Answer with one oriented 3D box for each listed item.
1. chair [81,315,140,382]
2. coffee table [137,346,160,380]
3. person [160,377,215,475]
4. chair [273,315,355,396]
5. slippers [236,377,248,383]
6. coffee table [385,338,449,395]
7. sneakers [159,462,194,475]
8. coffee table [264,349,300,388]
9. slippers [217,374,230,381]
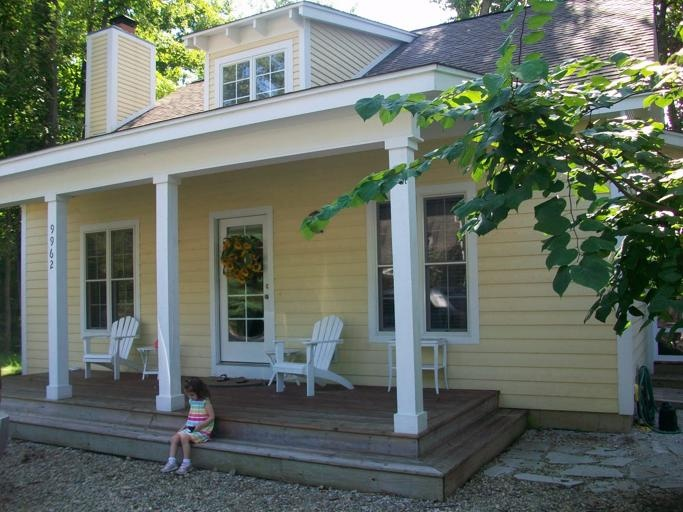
[{"bbox_3d":[-3.708,1.471,9.787,0.885,0.812,0.859,0,-2,-14],"label":"chair"},{"bbox_3d":[-3.163,1.733,9.871,0.555,0.482,0.529,0,-3,-5],"label":"coffee table"},{"bbox_3d":[-1.663,1.817,6.570,0.563,0.964,0.352,-1,-3,-12],"label":"person"},{"bbox_3d":[-0.362,1.296,8.016,1.039,0.919,0.788,2,-4,-40],"label":"chair"},{"bbox_3d":[-1.455,1.800,8.764,0.103,0.048,0.132,1,-2,-14],"label":"slippers"},{"bbox_3d":[0.981,1.346,7.886,0.690,0.778,0.899,-2,-5,23],"label":"coffee table"},{"bbox_3d":[-1.743,2.246,6.435,0.342,0.133,0.120,6,-10,-7],"label":"sneakers"},{"bbox_3d":[-0.771,1.463,8.196,0.471,0.645,1.501,-1,-3,-7],"label":"coffee table"},{"bbox_3d":[-1.764,1.812,9.030,0.103,0.048,0.138,0,-2,5],"label":"slippers"}]
